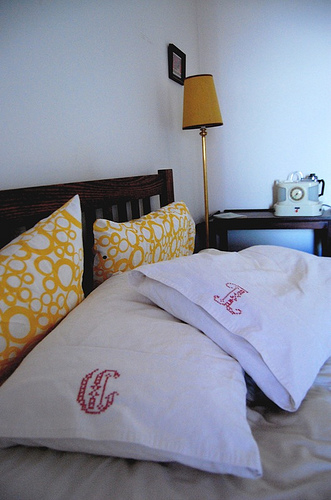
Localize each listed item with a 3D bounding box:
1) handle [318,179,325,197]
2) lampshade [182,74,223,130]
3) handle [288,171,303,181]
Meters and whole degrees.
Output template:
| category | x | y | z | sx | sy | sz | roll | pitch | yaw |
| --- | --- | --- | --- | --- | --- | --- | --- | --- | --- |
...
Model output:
| category | x | y | z | sx | sy | sz | roll | pitch | yaw |
| --- | --- | --- | --- | --- | --- | --- | --- | --- | --- |
| handle | 1.020 | -0.422 | 2.448 | 0.031 | 0.111 | 0.183 | 2 | 3 | 26 |
| lampshade | 0.181 | -0.770 | 1.972 | 0.218 | 0.259 | 0.229 | 2 | 10 | 41 |
| handle | 0.884 | -0.512 | 2.542 | 0.093 | 0.062 | 0.050 | 2 | 3 | 20 |
